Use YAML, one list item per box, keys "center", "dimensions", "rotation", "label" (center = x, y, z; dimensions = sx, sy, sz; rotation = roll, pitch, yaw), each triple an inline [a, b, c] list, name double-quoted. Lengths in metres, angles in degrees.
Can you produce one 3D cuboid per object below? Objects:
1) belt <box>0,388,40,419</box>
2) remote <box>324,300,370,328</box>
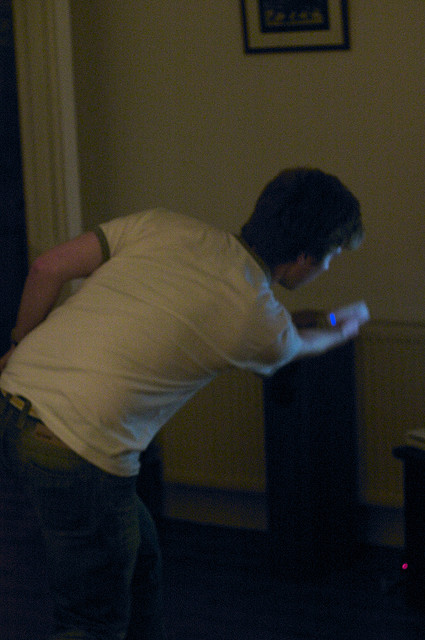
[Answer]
- center: [-0.275, 0.118, 0.879]
  dimensions: [0.007, 0.016, 0.098]
  rotation: [-11, 37, -38]
  label: "belt"
- center: [0.275, -0.011, 1.253]
  dimensions: [0.086, 0.034, 0.045]
  rotation: [-16, 37, -15]
  label: "remote"
